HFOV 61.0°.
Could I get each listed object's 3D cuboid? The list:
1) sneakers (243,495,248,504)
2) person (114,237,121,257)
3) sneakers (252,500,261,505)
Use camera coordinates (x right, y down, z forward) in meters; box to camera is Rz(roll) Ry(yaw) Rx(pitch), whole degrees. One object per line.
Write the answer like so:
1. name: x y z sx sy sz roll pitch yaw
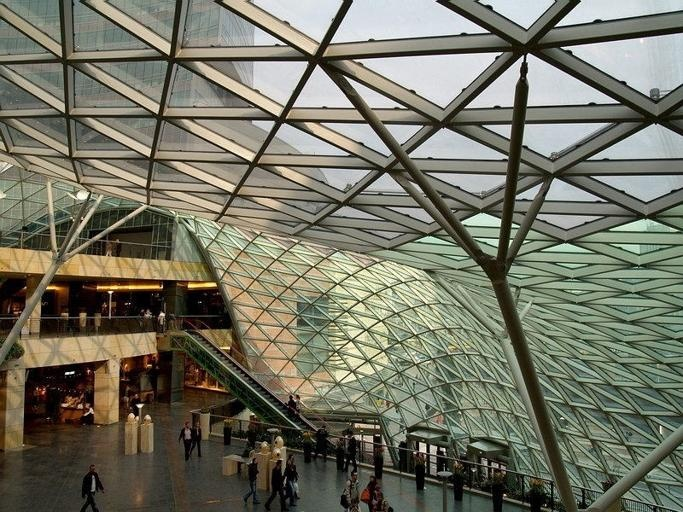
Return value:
1. sneakers: -4.314 10.989 26.170 0.127 0.219 0.341 -1 -16 -11
2. person: -21.442 -0.700 55.759 0.563 1.522 1.229 2 -18 -20
3. sneakers: -3.760 11.030 26.109 0.336 0.148 0.263 4 -17 -24
